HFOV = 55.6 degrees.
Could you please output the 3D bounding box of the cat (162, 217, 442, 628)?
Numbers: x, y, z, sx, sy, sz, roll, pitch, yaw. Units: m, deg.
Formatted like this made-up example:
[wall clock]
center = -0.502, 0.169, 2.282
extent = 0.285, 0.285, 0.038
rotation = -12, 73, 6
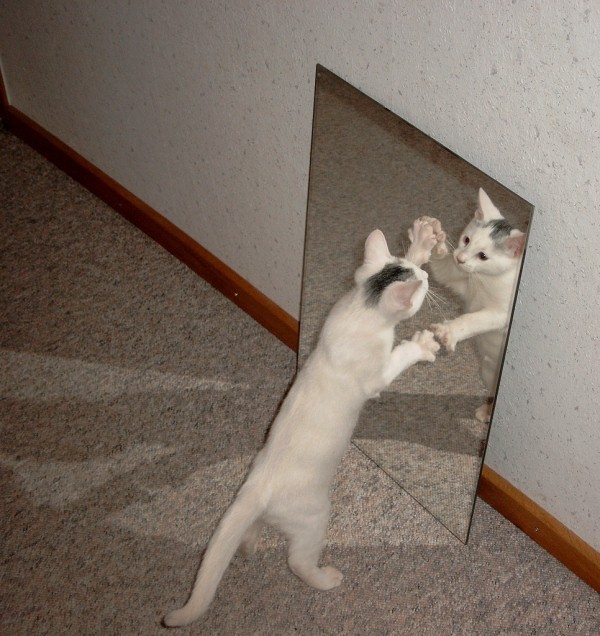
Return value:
[cat]
center = 0.017, 0.241, 1.188
extent = 0.218, 0.788, 0.324
rotation = 29, 10, 25
